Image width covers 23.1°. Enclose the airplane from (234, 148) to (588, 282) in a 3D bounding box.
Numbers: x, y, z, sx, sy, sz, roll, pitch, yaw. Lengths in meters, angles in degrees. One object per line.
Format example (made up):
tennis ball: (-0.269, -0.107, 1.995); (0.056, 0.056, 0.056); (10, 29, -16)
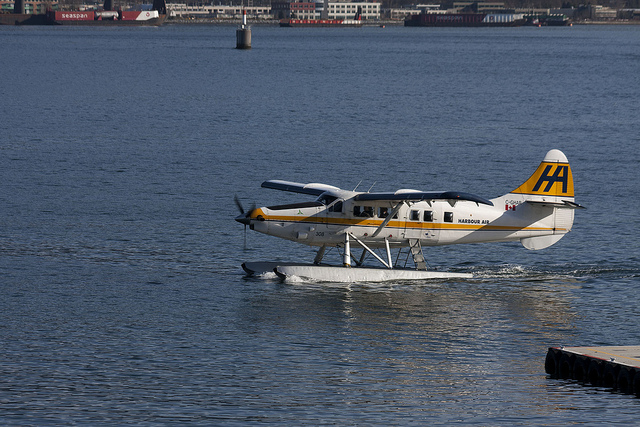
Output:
airplane: (5.627, 0.193, 96.296); (19.194, 7.661, 4.505); (0, 18, -3)
